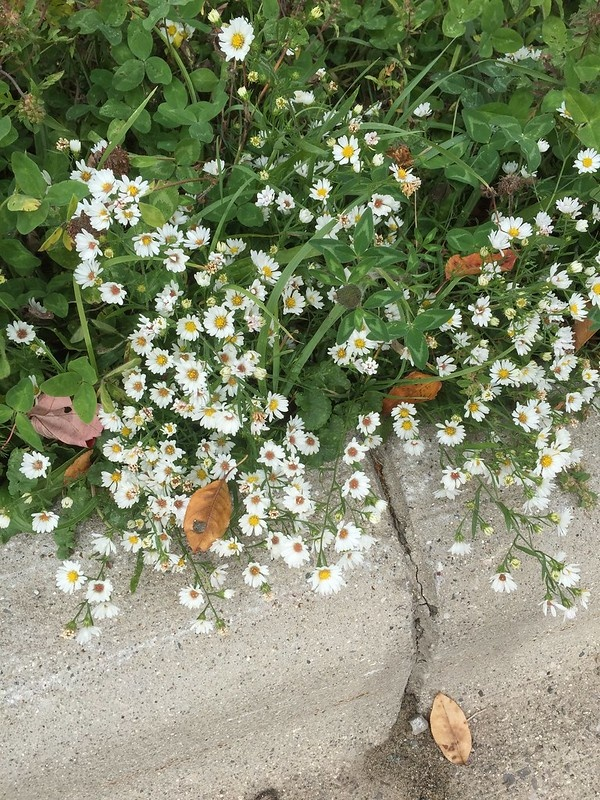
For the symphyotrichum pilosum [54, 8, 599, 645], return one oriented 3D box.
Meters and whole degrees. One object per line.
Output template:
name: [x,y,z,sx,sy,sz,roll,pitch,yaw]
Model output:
symphyotrichum pilosum: [0.049,-0.207,2.019,1.314,0.478,1.356,-1,95,-7]
